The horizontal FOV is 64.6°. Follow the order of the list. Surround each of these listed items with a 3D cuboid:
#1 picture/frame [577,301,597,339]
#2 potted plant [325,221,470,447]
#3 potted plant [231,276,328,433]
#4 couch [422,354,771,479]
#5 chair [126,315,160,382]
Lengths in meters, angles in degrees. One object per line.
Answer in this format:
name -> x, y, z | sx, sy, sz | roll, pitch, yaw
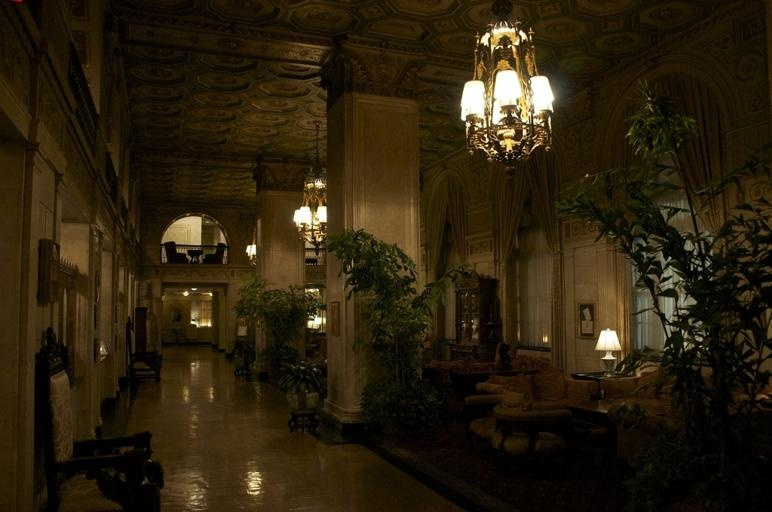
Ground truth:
picture/frame -> 4.047, 1.302, 12.231 | 0.089, 0.904, 0.721 | -1, -2, -22
potted plant -> 0.000, 1.196, 9.676 | 1.740, 3.191, 1.060 | 2, -8, -6
potted plant -> -2.569, 2.316, 14.500 | 2.102, 3.296, 1.664 | 15, -38, -37
couch -> 2.549, 2.181, 9.272 | 2.803, 1.244, 5.662 | 3, -9, -12
chair -> -7.206, 2.749, 18.031 | 0.690, 1.406, 1.992 | 0, -4, -13
